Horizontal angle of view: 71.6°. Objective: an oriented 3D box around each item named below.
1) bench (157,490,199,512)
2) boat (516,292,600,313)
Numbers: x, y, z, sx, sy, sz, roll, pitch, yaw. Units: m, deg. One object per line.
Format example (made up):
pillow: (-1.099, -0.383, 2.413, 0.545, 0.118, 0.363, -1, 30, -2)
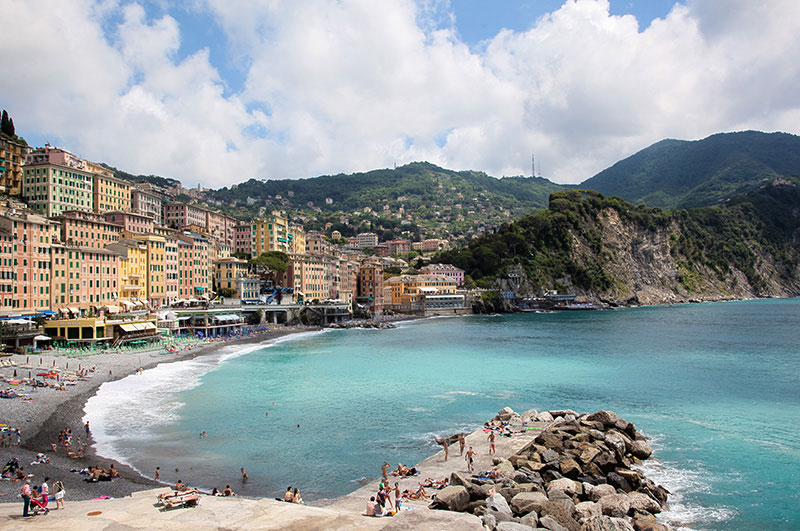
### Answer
bench: (-16.061, 16.919, 40.080, 1.852, 0.706, 1.385, 3, -1, -20)
boat: (62.451, 15.017, 221.080, 34.463, 7.527, 8.116, 2, -9, -23)
